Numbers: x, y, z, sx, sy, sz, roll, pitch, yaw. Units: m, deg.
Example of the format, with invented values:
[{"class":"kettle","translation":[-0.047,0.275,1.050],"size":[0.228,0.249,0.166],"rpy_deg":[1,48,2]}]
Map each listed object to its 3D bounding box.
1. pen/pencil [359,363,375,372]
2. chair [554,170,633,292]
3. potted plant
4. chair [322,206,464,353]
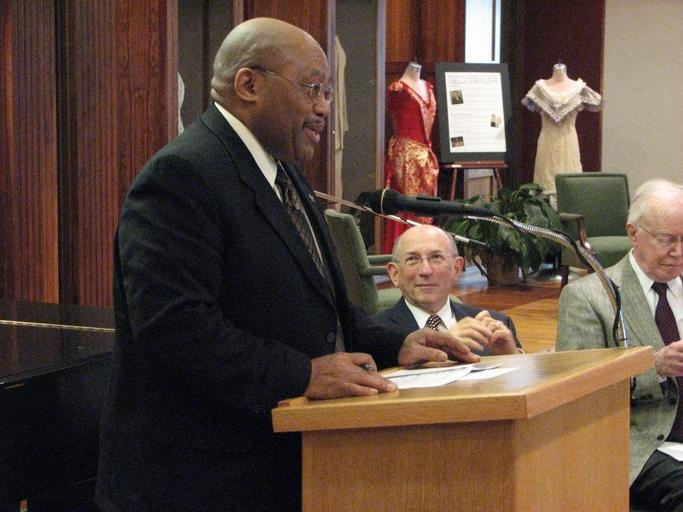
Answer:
[{"class":"pen/pencil","translation":[0.060,0.248,1.445],"size":[0.024,0.009,0.019],"rpy_deg":[-3,-3,26]},{"class":"chair","translation":[2.643,-0.136,6.493],"size":[0.919,1.428,0.998],"rpy_deg":[-2,6,15]},{"class":"potted plant","translation":[2.015,-0.304,7.477],"size":[1.263,1.228,1.725],"rpy_deg":[4,-6,-8]},{"class":"chair","translation":[0.273,0.205,4.719],"size":[0.708,1.100,0.632],"rpy_deg":[-7,4,-14]}]
